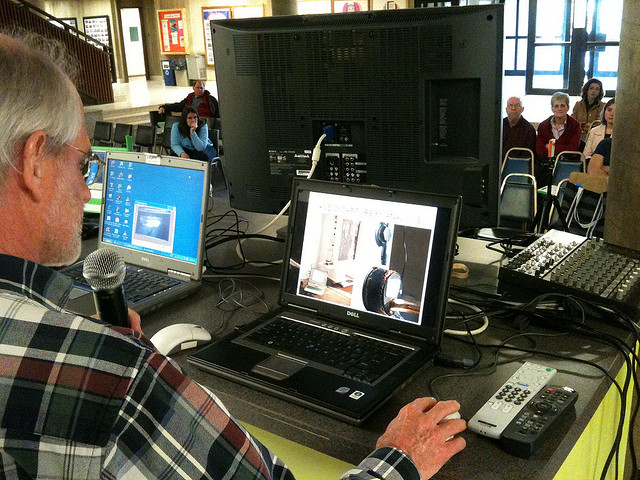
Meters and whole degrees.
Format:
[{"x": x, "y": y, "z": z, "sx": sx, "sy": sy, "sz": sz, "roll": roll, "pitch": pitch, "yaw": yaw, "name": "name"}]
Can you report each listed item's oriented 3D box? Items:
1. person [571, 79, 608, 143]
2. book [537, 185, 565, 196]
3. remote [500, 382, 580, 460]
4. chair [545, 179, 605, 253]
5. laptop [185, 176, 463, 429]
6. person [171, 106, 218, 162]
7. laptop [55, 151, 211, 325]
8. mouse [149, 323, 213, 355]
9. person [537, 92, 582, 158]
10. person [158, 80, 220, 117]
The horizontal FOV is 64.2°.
[{"x": 3.786, "y": -1.667, "z": 7.261, "sx": 0.465, "sy": 1.178, "sz": 0.400, "roll": 8, "pitch": 15, "yaw": 26, "name": "person"}, {"x": 1.769, "y": -0.379, "z": 3.887, "sx": 0.170, "sy": 0.046, "sz": 0.186, "roll": -15, "pitch": 18, "yaw": -32, "name": "book"}, {"x": 0.426, "y": 0.343, "z": 0.984, "sx": 0.072, "sy": 0.061, "sz": 0.252, "roll": 13, "pitch": 24, "yaw": 33, "name": "remote"}, {"x": 1.609, "y": -0.100, "z": 3.183, "sx": 0.201, "sy": 0.408, "sz": 0.497, "roll": 21, "pitch": -16, "yaw": 38, "name": "chair"}, {"x": 0.006, "y": 0.094, "z": 1.179, "sx": 0.522, "sy": 0.374, "sz": 0.531, "roll": -14, "pitch": 18, "yaw": -39, "name": "laptop"}, {"x": -1.616, "y": -1.298, "z": 6.471, "sx": 0.520, "sy": 0.765, "sz": 0.616, "roll": -3, "pitch": 31, "yaw": -13, "name": "person"}, {"x": -0.665, "y": -0.040, "z": 1.527, "sx": 0.551, "sy": 0.392, "sz": 0.507, "roll": 13, "pitch": 19, "yaw": 40, "name": "laptop"}, {"x": -0.347, "y": 0.243, "z": 1.269, "sx": 0.123, "sy": 0.041, "sz": 0.070, "roll": -17, "pitch": 26, "yaw": -41, "name": "mouse"}, {"x": 2.904, "y": -1.398, "z": 6.184, "sx": 0.496, "sy": 0.749, "sz": 0.432, "roll": 3, "pitch": 13, "yaw": 21, "name": "person"}, {"x": -2.035, "y": -2.374, "z": 8.679, "sx": 1.449, "sy": 0.581, "sz": 0.432, "roll": 4, "pitch": 13, "yaw": 14, "name": "person"}]
